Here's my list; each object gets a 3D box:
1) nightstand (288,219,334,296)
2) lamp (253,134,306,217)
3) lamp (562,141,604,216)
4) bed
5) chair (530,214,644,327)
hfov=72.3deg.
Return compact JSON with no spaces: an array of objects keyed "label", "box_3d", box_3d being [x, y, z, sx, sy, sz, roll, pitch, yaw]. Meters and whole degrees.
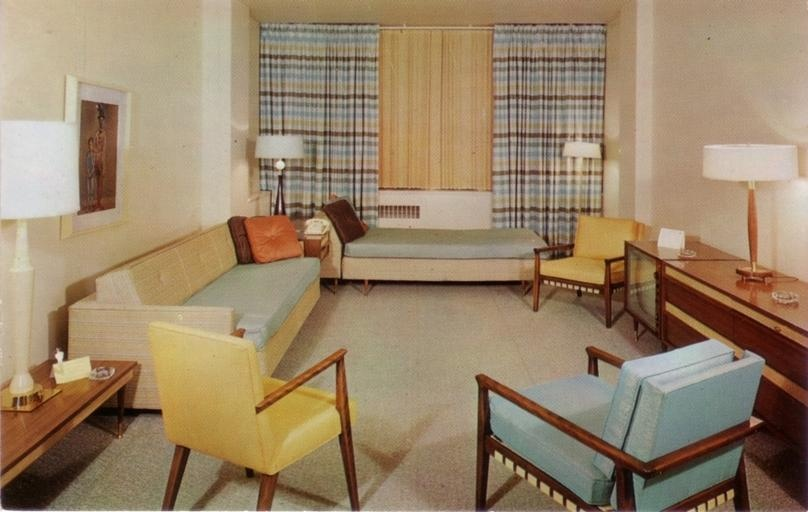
[{"label":"nightstand","box_3d":[-1.053,0.016,6.312,0.431,0.547,0.801,-1,24,-2]},{"label":"lamp","box_3d":[-1.633,-1.027,7.285,0.667,1.035,0.639,0,-1,-39]},{"label":"lamp","box_3d":[2.557,-1.120,7.897,0.519,1.053,0.760,2,12,19]},{"label":"bed","box_3d":[0.435,-0.021,7.003,1.863,0.451,1.032,1,10,2]},{"label":"chair","box_3d":[2.091,0.107,6.224,0.972,1.087,1.150,6,13,30]}]
